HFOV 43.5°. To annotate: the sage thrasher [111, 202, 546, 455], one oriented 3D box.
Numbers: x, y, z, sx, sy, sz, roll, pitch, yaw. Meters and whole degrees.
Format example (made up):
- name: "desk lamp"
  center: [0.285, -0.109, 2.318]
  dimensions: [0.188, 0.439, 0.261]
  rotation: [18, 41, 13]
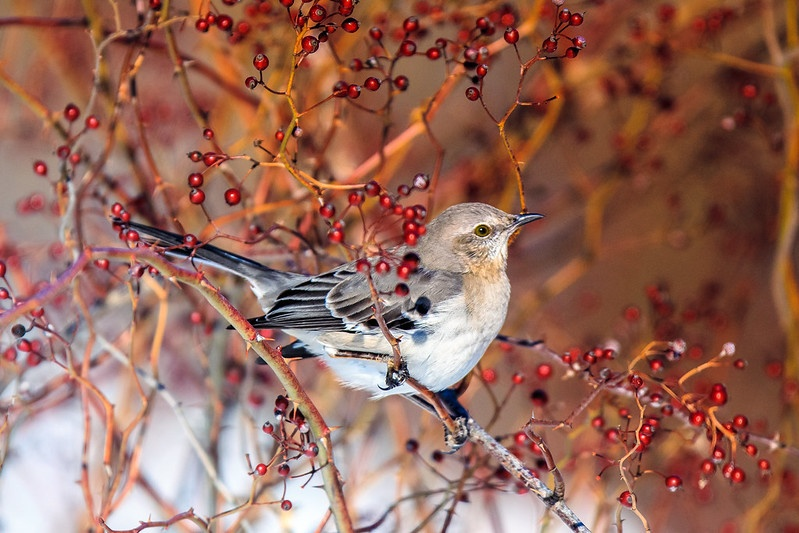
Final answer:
- name: "sage thrasher"
  center: [-0.151, 0.401, 8.142]
  dimensions: [2.576, 1.510, 1.523]
  rotation: [4, -60, -2]
